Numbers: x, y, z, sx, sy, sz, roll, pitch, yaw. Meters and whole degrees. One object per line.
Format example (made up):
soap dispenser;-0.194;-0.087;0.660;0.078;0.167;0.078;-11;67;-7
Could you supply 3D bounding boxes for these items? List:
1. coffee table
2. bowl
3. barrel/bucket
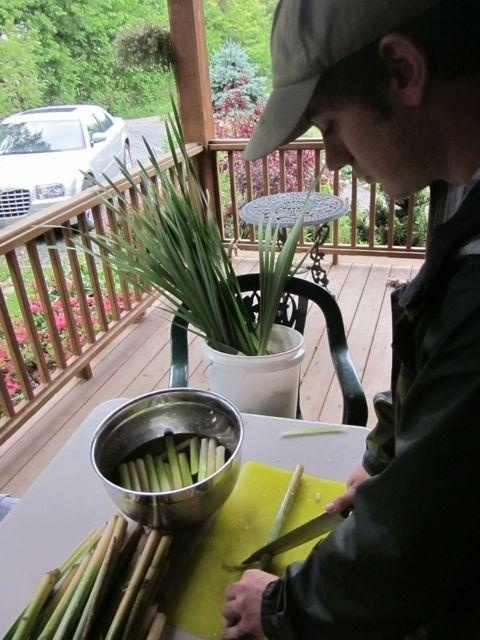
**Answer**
coffee table;0.331;-0.389;2.752;0.813;0.449;0.833;2;16;29
bowl;-0.128;0.211;0.896;0.235;0.192;0.411;-1;26;5
barrel/bucket;0.053;0.160;1.426;0.272;0.303;0.291;-1;29;1
